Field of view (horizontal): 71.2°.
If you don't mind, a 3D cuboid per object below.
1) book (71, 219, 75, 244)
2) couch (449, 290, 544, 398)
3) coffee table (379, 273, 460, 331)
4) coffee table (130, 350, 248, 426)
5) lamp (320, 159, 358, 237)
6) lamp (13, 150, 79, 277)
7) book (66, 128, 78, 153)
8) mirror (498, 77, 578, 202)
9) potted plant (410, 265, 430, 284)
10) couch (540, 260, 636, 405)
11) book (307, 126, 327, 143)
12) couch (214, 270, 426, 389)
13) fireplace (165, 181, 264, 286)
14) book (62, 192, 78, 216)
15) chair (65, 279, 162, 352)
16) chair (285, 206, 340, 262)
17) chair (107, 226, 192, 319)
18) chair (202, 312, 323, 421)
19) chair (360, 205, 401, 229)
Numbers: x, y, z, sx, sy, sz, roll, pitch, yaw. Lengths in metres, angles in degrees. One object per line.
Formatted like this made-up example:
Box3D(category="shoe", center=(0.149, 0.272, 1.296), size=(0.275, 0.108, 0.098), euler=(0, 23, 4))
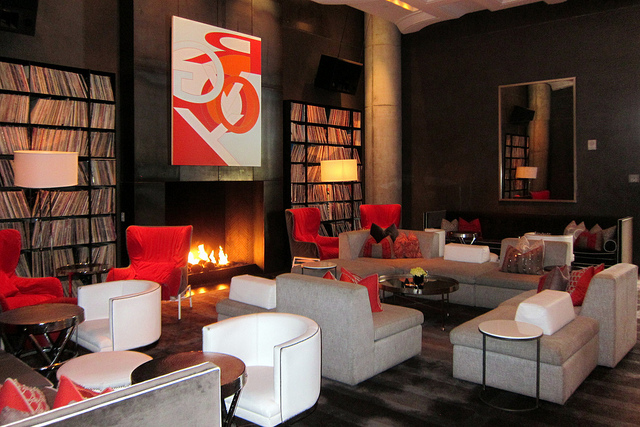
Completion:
Box3D(category="book", center=(-3.707, 0.273, 6.695), size=(0.057, 0.368, 0.021), euler=(-3, 5, -31))
Box3D(category="couch", center=(1.732, 1.008, 4.348), size=(0.680, 0.491, 1.289), euler=(-1, 1, 33))
Box3D(category="coffee table", center=(1.301, 1.116, 6.049), size=(0.980, 0.604, 1.309), euler=(0, 4, 7))
Box3D(category="coffee table", center=(-0.927, 1.347, 3.302), size=(0.783, 0.518, 0.567), euler=(1, 4, 15))
Box3D(category="lamp", center=(0.426, -0.293, 9.171), size=(0.827, 1.641, 0.828), euler=(2, 5, 27))
Box3D(category="lamp", center=(-3.658, 0.033, 6.016), size=(0.696, 1.836, 1.208), euler=(-3, 5, -33))
Box3D(category="book", center=(-3.698, -1.087, 6.645), size=(0.066, 0.272, 0.272), euler=(7, 9, -4))
Box3D(category="mirror", center=(4.452, -1.407, 9.193), size=(1.590, 2.711, 0.086), euler=(0, 0, 5))
Box3D(category="potted plant", center=(1.269, 0.794, 5.857), size=(0.232, 0.238, 0.279), euler=(-2, -3, 40))
Box3D(category="couch", center=(2.670, 1.220, 4.411), size=(0.543, 0.652, 1.091), euler=(3, 10, 41))
Box3D(category="book", center=(-0.078, -1.635, 9.171), size=(0.202, 0.341, 0.384), euler=(-4, 3, 39))
Box3D(category="couch", center=(0.234, 0.804, 4.629), size=(1.656, 0.874, 1.191), euler=(3, 5, 42))
Box3D(category="fireplace", center=(-1.873, 0.296, 7.833), size=(0.962, 1.777, 1.905), euler=(-1, -1, 44))
Box3D(category="book", center=(-3.731, -0.145, 6.662), size=(0.199, 0.333, 0.021), euler=(-5, 6, -45))
Box3D(category="chair", center=(-2.244, 1.164, 5.021), size=(0.827, 0.708, 0.851), euler=(5, 4, 43))
Box3D(category="chair", center=(-0.128, 0.415, 8.148), size=(0.925, 0.979, 0.827), euler=(5, 6, 33))
Box3D(category="chair", center=(-2.253, 0.805, 6.556), size=(1.214, 1.518, 1.222), euler=(-1, -3, 8))
Box3D(category="chair", center=(-0.431, 1.219, 3.757), size=(0.855, 0.667, 0.827), euler=(1, 2, 34))
Box3D(category="chair", center=(1.214, 0.041, 8.938), size=(0.586, 0.609, 0.523), euler=(0, -2, -2))
